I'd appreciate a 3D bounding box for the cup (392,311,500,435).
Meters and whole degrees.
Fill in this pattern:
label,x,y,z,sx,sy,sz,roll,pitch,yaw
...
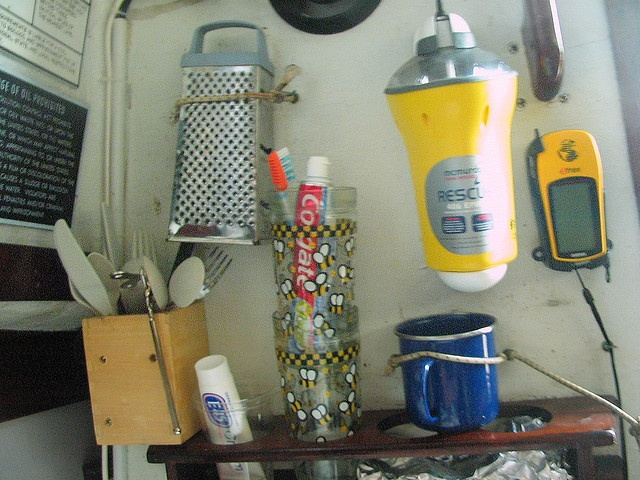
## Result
label,x,y,z,sx,sy,sz,roll,pitch,yaw
cup,0.326,0.340,1.692,0.317,0.285,0.286,-3,-1,11

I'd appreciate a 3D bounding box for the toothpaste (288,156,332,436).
label,x,y,z,sx,sy,sz,roll,pitch,yaw
toothpaste,-0.022,0.050,1.643,0.104,0.500,0.105,9,18,26

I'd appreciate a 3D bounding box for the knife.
label,x,y,z,sx,sy,sz,roll,pitch,yaw
knife,-0.605,0.072,1.591,0.043,0.252,0.150,-7,-3,30
